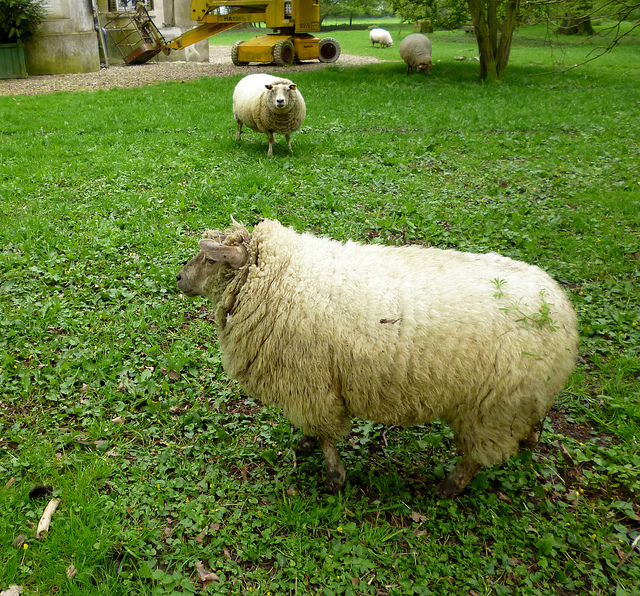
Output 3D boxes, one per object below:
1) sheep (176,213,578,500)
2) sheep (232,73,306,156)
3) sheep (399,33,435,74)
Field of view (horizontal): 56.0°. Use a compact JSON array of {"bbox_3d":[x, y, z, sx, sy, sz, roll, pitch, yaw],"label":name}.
[{"bbox_3d":[0.547,0.116,4.909,3.229,2.052,1.516,3,20,12],"label":"sheep"},{"bbox_3d":[-0.960,-3.472,11.268,1.159,1.310,2.209,-10,26,-26],"label":"sheep"},{"bbox_3d":[3.779,-9.392,23.353,1.000,1.353,2.030,-10,57,5],"label":"sheep"}]
